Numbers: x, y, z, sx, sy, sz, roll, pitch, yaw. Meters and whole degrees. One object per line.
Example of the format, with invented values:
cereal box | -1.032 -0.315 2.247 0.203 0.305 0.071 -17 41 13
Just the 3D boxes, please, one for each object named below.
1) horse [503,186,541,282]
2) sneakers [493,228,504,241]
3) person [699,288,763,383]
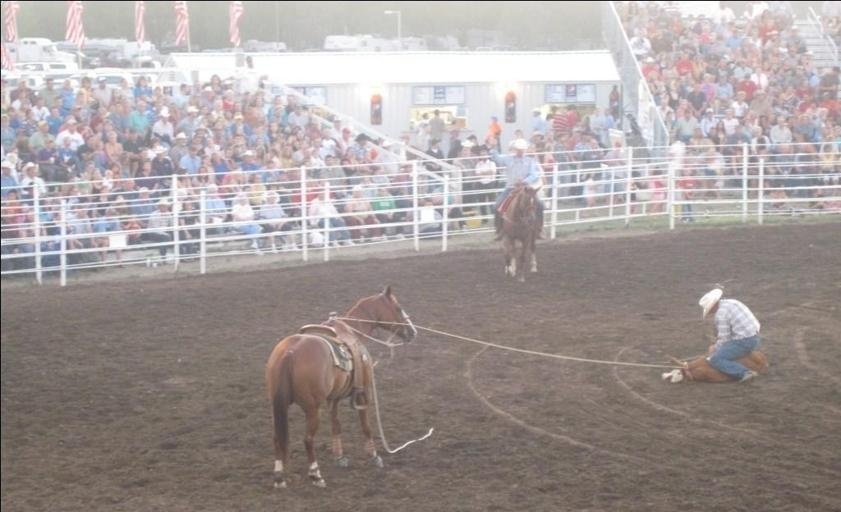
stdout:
horse | 2.484 -0.667 32.751 1.038 2.277 1.748 -2 5 4
sneakers | 1.968 -0.609 33.211 0.234 0.245 0.239 -2 -10 3
person | 6.398 1.541 27.430 1.119 1.907 0.831 -1 6 12
